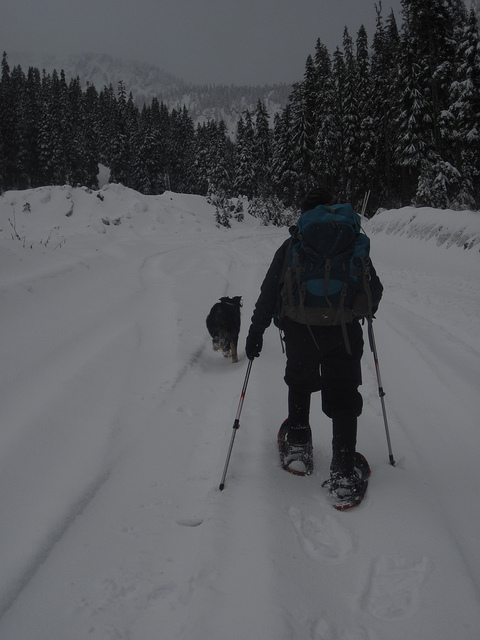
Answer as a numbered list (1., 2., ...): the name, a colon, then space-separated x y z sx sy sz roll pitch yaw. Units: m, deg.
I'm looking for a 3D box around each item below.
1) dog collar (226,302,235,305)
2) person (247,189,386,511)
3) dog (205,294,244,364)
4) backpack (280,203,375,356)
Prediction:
1. dog collar: -0.148 -0.230 6.983 0.081 0.017 0.017 13 4 -32
2. person: 0.704 0.074 4.081 0.989 2.341 1.092 -12 21 -32
3. dog: -0.163 0.126 7.200 0.316 0.847 1.336 -6 11 9
4. backpack: 0.646 -0.362 3.847 0.521 1.205 0.418 1 11 -2
